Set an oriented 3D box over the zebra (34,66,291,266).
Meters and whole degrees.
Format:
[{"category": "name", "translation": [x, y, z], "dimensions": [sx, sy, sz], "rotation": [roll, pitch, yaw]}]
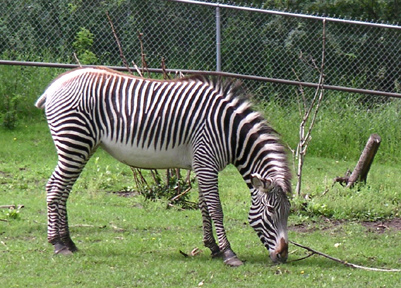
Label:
[{"category": "zebra", "translation": [-0.543, 0.366, 10.392], "dimensions": [3.908, 2.966, 1.123], "rotation": [6, 2, -6]}]
